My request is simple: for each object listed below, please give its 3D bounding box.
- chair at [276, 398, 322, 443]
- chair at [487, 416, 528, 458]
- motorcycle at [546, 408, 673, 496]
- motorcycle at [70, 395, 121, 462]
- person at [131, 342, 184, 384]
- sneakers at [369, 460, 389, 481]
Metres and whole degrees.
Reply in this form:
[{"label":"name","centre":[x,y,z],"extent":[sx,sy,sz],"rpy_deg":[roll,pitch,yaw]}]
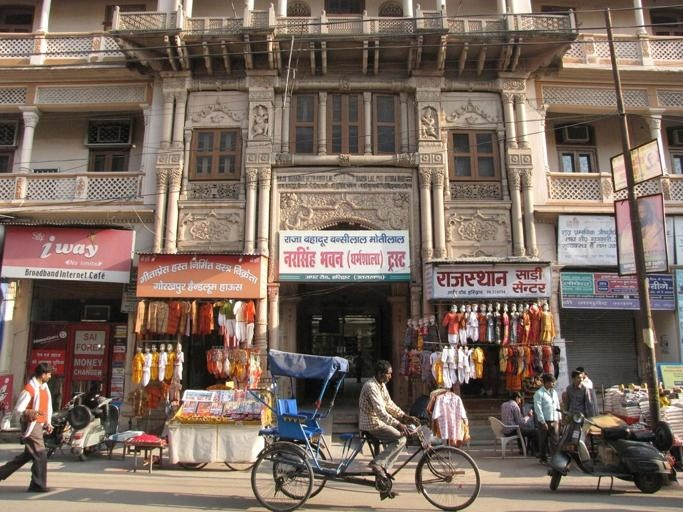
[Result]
[{"label":"chair","centre":[-0.804,2.997,10.922],"extent":[0.820,0.556,0.754],"rpy_deg":[5,-9,16]},{"label":"chair","centre":[3.953,4.247,14.088],"extent":[0.816,0.858,0.595],"rpy_deg":[1,-4,-9]},{"label":"motorcycle","centre":[5.086,3.653,11.202],"extent":[2.359,1.399,0.703],"rpy_deg":[0,-4,3]},{"label":"motorcycle","centre":[-5.867,3.897,14.042],"extent":[1.159,1.113,2.281],"rpy_deg":[1,-5,-6]},{"label":"person","centre":[-4.709,2.769,15.302],"extent":[1.198,0.965,0.434],"rpy_deg":[0,-4,4]},{"label":"sneakers","centre":[0.641,3.609,10.030],"extent":[0.286,0.156,0.415],"rpy_deg":[-2,9,-42]}]
